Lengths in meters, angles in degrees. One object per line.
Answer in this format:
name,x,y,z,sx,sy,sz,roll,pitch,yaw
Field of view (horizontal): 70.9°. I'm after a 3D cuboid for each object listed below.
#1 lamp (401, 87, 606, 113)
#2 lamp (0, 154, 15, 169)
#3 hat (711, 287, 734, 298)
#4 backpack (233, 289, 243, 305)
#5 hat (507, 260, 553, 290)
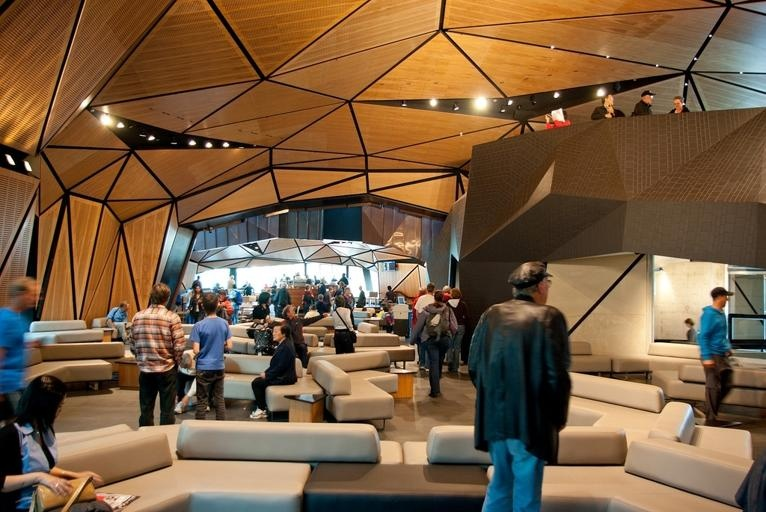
lamp,3.485,-4.212,14.881,5.075,0.415,1.202,1,-5,7
lamp,-7.534,-1.889,10.804,0.052,0.182,0.206,5,-16,12
hat,5.658,0.637,9.058,0.259,0.202,0.577,-2,-6,30
backpack,-5.888,1.756,22.176,0.587,0.747,0.344,-8,-6,42
hat,1.524,0.165,5.539,0.389,0.143,0.284,-18,15,-31
